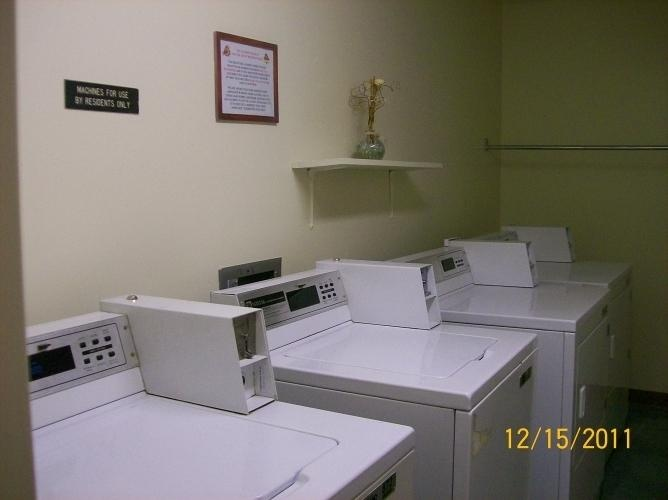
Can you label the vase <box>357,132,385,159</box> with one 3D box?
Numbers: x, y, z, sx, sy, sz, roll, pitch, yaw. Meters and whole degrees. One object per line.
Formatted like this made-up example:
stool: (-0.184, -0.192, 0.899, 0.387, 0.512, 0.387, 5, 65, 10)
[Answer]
vase: (0.203, -0.550, 2.552, 0.150, 0.188, 0.154, 6, 7, 19)
